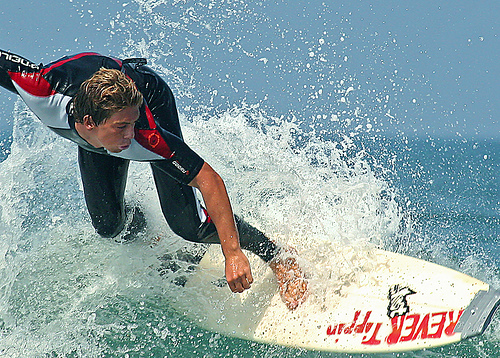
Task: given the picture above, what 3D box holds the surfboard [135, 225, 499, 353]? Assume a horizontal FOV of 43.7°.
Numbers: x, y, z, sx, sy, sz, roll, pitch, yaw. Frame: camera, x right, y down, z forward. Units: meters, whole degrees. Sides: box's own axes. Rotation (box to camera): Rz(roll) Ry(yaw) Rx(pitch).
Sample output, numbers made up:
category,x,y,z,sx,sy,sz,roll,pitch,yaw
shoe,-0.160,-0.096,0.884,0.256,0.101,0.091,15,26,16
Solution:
category,x,y,z,sx,sy,sz,roll,pitch,yaw
surfboard,0.881,1.290,6.612,4.141,0.561,1.218,9,65,21
